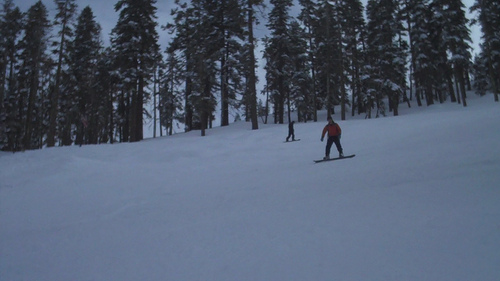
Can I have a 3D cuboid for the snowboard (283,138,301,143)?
[{"bbox_3d":[5.328,-0.036,59.562,2.663,0.337,0.152,-4,-25,7],"label":"snowboard"}]
